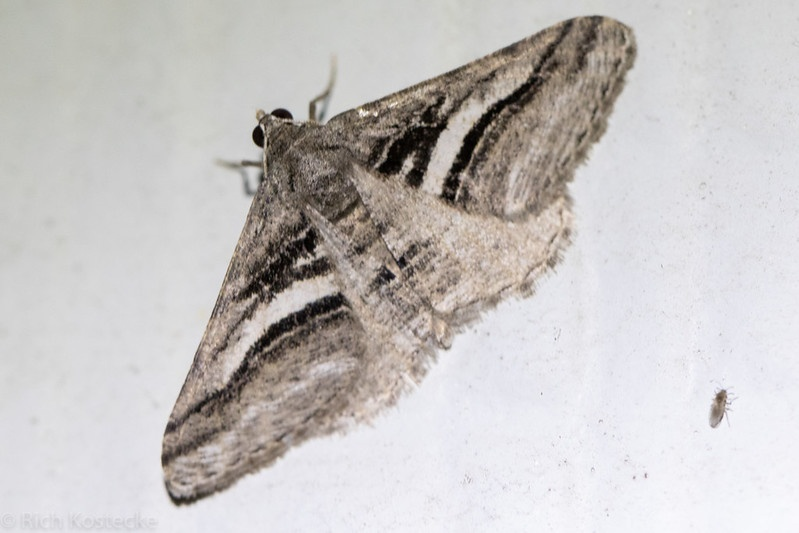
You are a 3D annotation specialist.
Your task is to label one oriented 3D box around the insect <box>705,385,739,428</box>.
[{"bbox_3d":[1.274,0.564,4.381,0.172,0.106,0.053,-56,-22,-22],"label":"insect"}]
